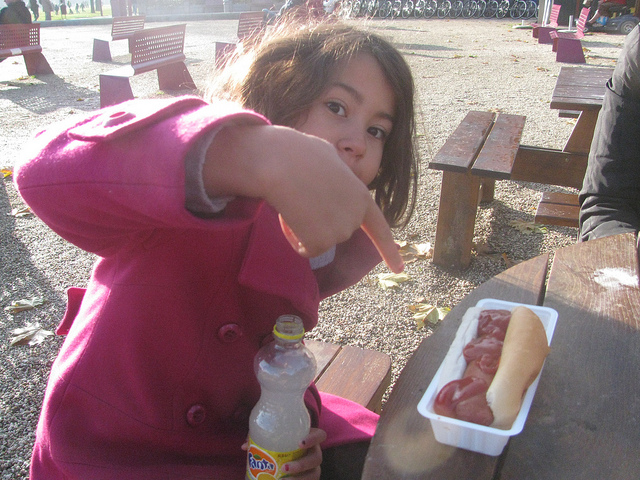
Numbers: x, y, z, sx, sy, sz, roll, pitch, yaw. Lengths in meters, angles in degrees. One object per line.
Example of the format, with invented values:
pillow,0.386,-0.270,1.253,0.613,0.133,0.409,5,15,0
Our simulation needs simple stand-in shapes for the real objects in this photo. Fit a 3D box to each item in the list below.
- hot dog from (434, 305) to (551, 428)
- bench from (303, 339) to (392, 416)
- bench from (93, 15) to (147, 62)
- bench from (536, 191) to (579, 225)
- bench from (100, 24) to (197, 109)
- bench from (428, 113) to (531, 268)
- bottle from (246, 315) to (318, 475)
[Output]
hot dog,0.389,0.294,1.108,0.184,0.103,0.334,11,42,28
bench,0.102,0.480,1.837,0.230,0.098,0.405,9,26,17
bench,-4.382,-4.485,10.939,0.711,0.976,1.203,13,26,18
bench,1.554,-0.213,3.218,0.245,0.066,0.280,14,43,24
bench,-2.586,-2.684,7.531,0.606,1.103,1.628,8,28,6
bench,1.174,-0.415,3.694,0.407,0.751,1.460,12,30,21
bottle,-0.092,0.352,1.175,0.163,0.426,0.276,-1,29,-3
